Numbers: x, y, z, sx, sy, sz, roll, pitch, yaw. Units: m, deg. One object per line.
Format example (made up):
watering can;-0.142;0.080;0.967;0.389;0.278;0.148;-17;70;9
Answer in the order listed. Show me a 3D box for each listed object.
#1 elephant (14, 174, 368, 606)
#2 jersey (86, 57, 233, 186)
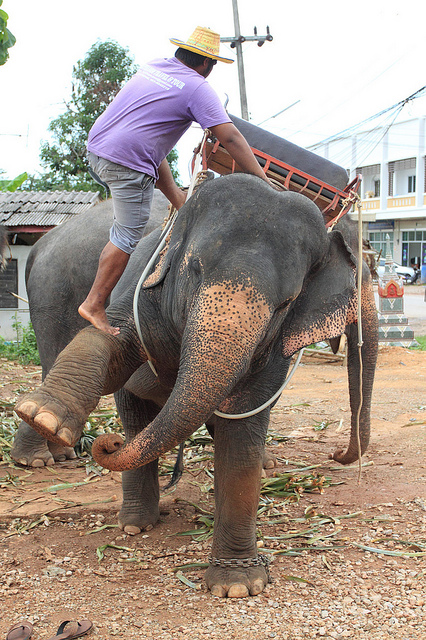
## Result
elephant;-0.031;0.254;2.214;1.036;1.514;1.280;2;4;12
jersey;-0.134;-0.754;2.405;0.564;0.426;0.569;-10;35;-37
